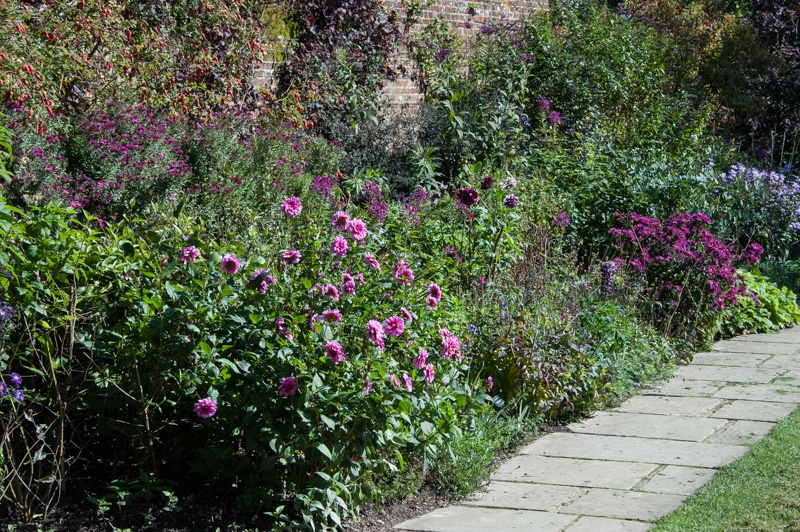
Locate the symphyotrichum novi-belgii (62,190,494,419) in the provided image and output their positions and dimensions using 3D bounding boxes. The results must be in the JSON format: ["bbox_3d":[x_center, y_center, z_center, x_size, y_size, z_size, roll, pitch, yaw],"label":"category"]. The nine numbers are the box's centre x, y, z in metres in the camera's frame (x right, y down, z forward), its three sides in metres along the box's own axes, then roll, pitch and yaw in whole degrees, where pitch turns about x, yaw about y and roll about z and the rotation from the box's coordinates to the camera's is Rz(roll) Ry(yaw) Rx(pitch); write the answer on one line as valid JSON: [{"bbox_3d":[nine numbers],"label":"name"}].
[{"bbox_3d":[-0.720,0.480,4.107,2.162,1.670,1.037,3,13,5],"label":"symphyotrichum novi-belgii"}]
